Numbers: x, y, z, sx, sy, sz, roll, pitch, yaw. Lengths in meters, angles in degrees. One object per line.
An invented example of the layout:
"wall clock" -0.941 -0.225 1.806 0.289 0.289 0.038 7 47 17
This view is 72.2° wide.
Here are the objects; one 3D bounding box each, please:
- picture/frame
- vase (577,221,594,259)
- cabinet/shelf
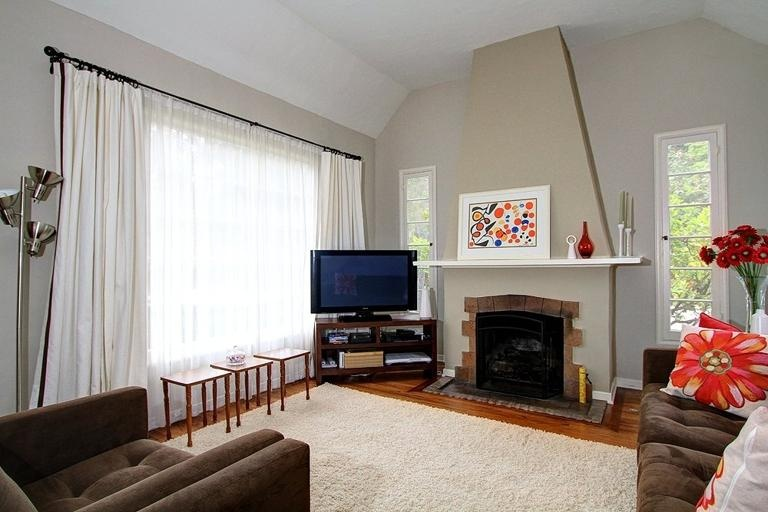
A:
"picture/frame" 1.342 -0.336 5.775 0.854 0.639 0.043 -1 -4 24
"vase" 2.038 -0.157 5.378 0.181 0.384 0.223 -3 -1 22
"cabinet/shelf" -0.112 1.125 6.370 1.487 0.651 0.554 -2 -1 -6
